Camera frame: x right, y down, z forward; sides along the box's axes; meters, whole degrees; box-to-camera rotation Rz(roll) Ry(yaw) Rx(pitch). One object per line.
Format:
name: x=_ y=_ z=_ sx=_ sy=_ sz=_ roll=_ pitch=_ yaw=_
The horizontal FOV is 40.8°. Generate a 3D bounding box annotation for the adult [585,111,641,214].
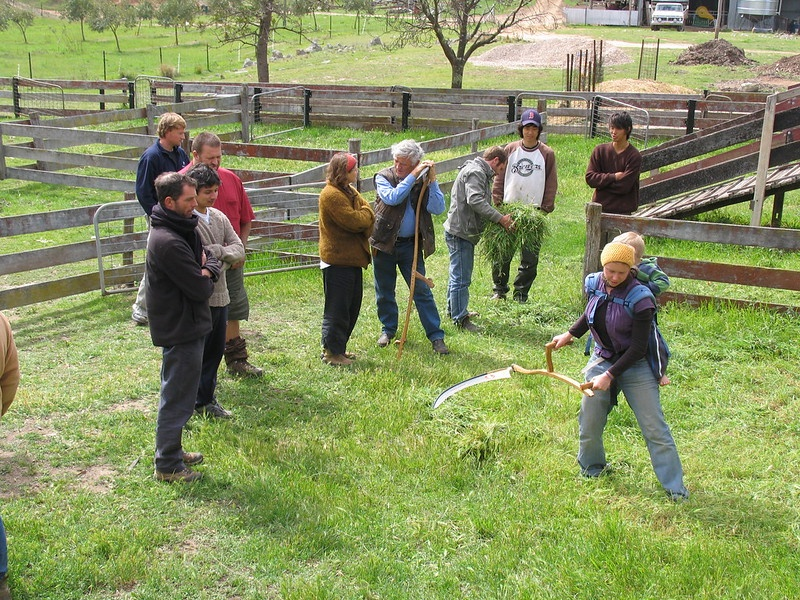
adult: x=2.989 y=-1.901 z=15.045 sx=0.727 sy=1.423 sz=0.577 roll=3 pitch=12 yaw=9

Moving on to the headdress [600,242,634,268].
headdress: x=2.236 y=-0.461 z=11.011 sx=0.334 sy=0.245 sz=0.257 roll=3 pitch=13 yaw=11

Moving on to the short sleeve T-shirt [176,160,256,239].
short sleeve T-shirt: x=-2.205 y=-1.067 z=12.877 sx=0.952 sy=1.015 sz=0.547 roll=-3 pitch=-2 yaw=-25

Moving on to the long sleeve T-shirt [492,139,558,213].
long sleeve T-shirt: x=1.731 y=-1.701 z=15.055 sx=0.920 sy=1.019 sz=0.508 roll=4 pitch=19 yaw=5

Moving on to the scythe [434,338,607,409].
scythe: x=1.167 y=0.842 z=11.540 sx=1.431 sy=0.726 sz=0.814 roll=-2 pitch=52 yaw=-8

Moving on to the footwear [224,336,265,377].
footwear: x=-1.902 y=0.685 z=12.956 sx=0.508 sy=0.529 sz=0.235 roll=8 pitch=18 yaw=23

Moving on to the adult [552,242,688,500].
adult: x=2.306 y=0.728 z=11.229 sx=1.453 sy=2.718 sz=1.172 roll=6 pitch=18 yaw=35

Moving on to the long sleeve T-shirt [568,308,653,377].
long sleeve T-shirt: x=2.173 y=0.410 z=11.155 sx=0.843 sy=0.750 sz=0.437 roll=4 pitch=13 yaw=14

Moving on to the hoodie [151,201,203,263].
hoodie: x=-2.391 y=-0.790 z=11.311 sx=0.499 sy=0.666 sz=0.344 roll=-3 pitch=58 yaw=-20

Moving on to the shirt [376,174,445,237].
shirt: x=0.111 y=-1.254 z=13.466 sx=0.624 sy=0.867 sz=0.442 roll=-1 pitch=17 yaw=-9

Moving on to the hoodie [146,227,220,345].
hoodie: x=-2.325 y=-0.207 z=11.382 sx=0.679 sy=1.258 sz=0.936 roll=-2 pitch=11 yaw=-7

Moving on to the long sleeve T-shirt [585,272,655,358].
long sleeve T-shirt: x=2.273 y=0.181 z=11.298 sx=0.818 sy=0.954 sz=0.538 roll=14 pitch=20 yaw=35

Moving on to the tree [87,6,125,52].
tree: x=-17.116 y=-16.082 z=62.741 sx=1.768 sy=2.323 sz=2.493 roll=-1 pitch=13 yaw=-8

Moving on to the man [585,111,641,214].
man: x=2.989 y=-1.901 z=15.045 sx=0.727 sy=1.423 sz=0.576 roll=3 pitch=12 yaw=9
